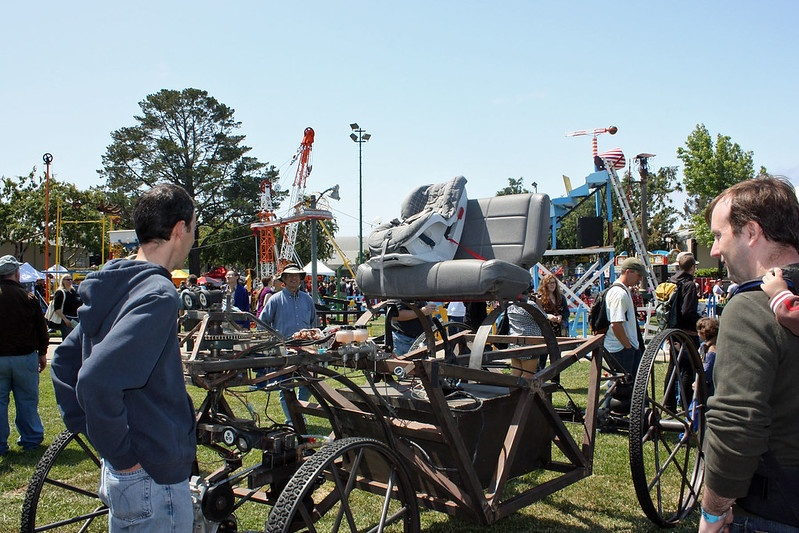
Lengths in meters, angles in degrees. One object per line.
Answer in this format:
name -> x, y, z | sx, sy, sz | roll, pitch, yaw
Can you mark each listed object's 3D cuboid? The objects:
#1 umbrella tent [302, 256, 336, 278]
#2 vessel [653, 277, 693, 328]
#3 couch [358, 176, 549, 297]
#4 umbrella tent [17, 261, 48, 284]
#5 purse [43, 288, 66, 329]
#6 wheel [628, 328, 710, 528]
umbrella tent -> -4.917, -0.041, 41.415 | 2.327, 1.224, 2.432 | 0, -10, -3
vessel -> 3.668, 0.571, 9.131 | 0.425, 0.690, 0.470 | 1, -6, 21
couch -> 0.431, -0.234, 6.058 | 1.729, 1.250, 0.951 | -2, -7, 40
umbrella tent -> -14.440, 0.242, 26.904 | 1.327, 0.642, 1.348 | -8, -6, 44
purse -> -6.872, 0.856, 13.594 | 0.442, 0.798, 0.770 | 8, -5, -17
wheel -> 2.470, 1.524, 6.255 | 1.006, 1.152, 1.109 | -4, 36, 13
